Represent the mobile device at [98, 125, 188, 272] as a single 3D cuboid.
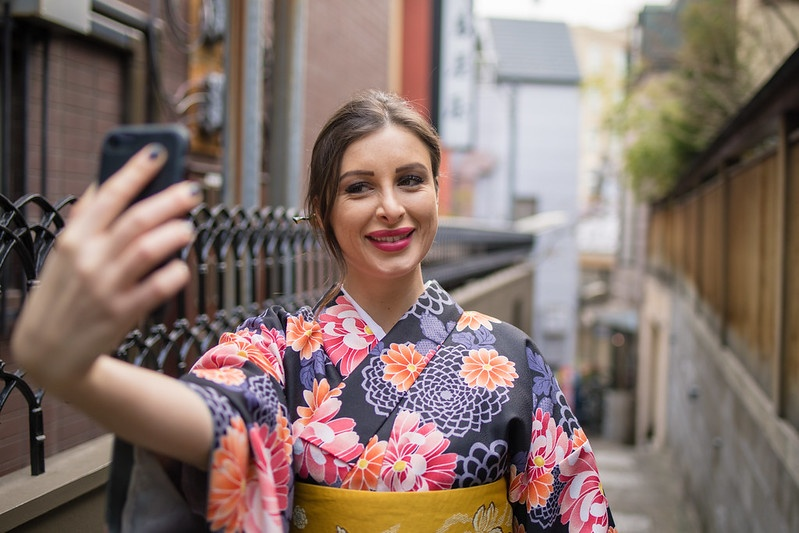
[{"bbox_3d":[-0.808,-0.311,2.182,0.295,0.294,0.135,4,1,20],"label":"mobile device"}]
